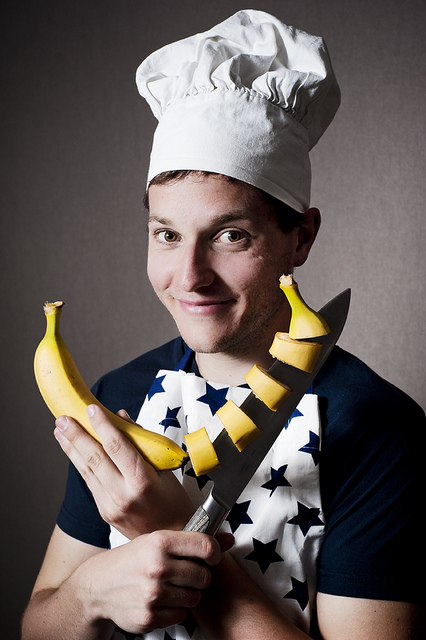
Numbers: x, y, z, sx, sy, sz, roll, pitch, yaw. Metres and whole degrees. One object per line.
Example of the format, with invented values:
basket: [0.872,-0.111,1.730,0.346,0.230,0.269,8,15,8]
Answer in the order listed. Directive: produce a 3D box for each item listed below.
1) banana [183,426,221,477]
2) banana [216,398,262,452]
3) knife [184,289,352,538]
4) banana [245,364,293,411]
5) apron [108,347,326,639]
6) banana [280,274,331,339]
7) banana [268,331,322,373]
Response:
banana: [-0.010,0.206,1.070,0.065,0.082,0.054,-1,17,-13]
banana: [0.039,0.157,1.042,0.081,0.051,0.022,48,6,-1]
knife: [0.099,0.172,1.192,0.080,0.567,0.042,36,13,-37]
banana: [0.068,0.093,1.023,0.062,0.045,0.030,33,-5,-34]
apron: [0.076,0.334,1.313,0.424,0.501,0.128,9,-11,14]
banana: [0.140,-0.021,1.031,0.090,0.101,0.050,1,17,-8]
banana: [0.134,0.052,1.068,0.064,0.036,0.061,19,1,-29]
